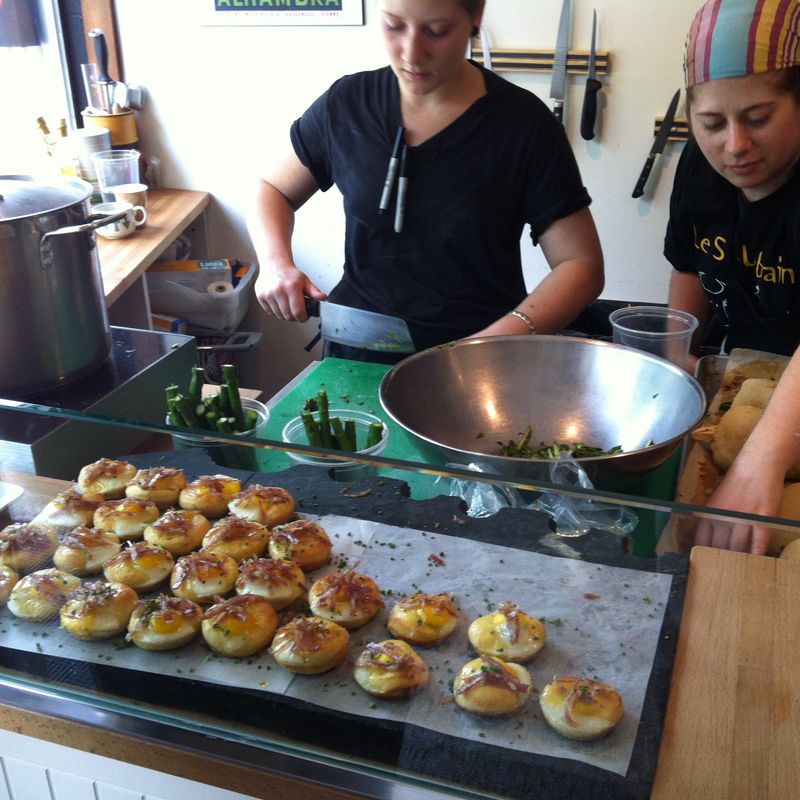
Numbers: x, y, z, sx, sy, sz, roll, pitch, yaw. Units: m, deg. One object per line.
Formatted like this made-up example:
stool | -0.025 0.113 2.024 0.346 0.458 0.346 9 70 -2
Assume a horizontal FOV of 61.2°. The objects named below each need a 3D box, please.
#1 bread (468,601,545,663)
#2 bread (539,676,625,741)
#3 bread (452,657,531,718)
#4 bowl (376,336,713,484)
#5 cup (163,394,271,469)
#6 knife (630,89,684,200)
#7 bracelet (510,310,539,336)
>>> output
bread | 0.096 0.213 0.604 0.071 0.031 0.048 4 23 6
bread | 0.143 0.239 0.532 0.065 0.024 0.057 11 24 21
bread | 0.077 0.235 0.560 0.064 0.019 0.068 10 24 20
bowl | 0.214 0.002 1.054 0.312 0.074 0.278 1 23 8
cup | -0.205 0.054 0.817 0.081 0.055 0.078 1 32 0
knife | 0.847 -0.835 2.234 0.071 0.379 0.038 33 35 11
bracelet | 0.249 -0.158 1.348 0.014 0.053 0.053 -46 19 12
